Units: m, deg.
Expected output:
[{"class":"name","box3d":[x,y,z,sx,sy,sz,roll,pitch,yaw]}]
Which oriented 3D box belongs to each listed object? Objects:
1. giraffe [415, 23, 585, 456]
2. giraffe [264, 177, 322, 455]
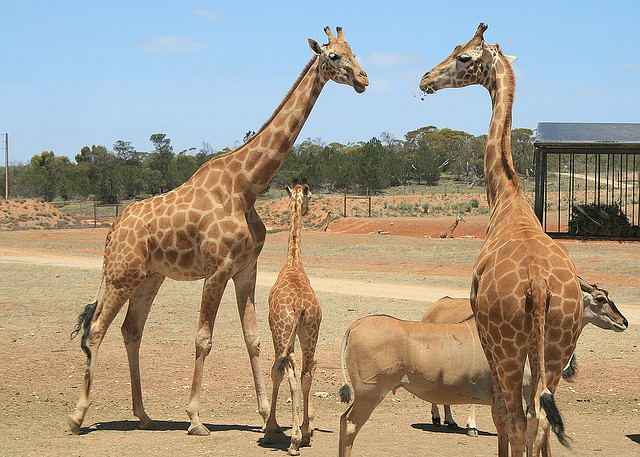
[{"class":"giraffe","box3d":[2.575,0.244,10.385,1.202,5.463,2.012,0,6,-8]},{"class":"giraffe","box3d":[-0.393,1.311,12.145,0.800,3.696,2.209,1,6,2]}]
